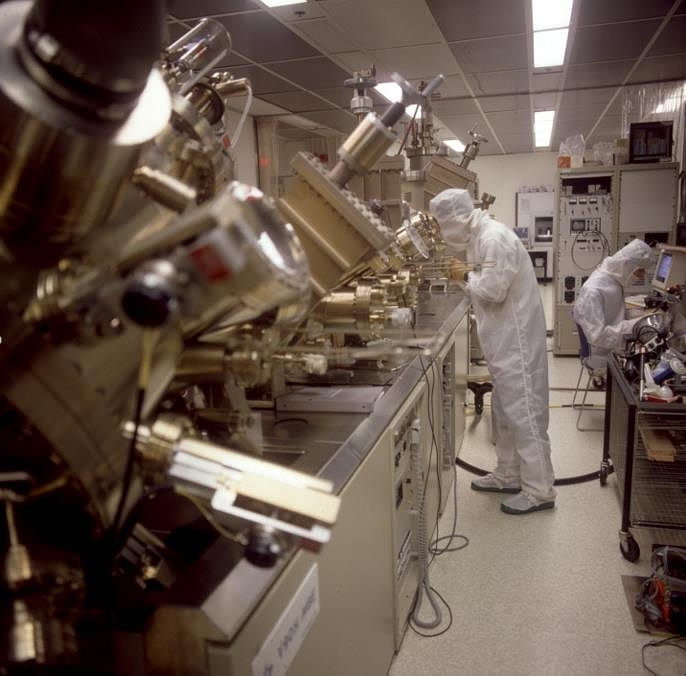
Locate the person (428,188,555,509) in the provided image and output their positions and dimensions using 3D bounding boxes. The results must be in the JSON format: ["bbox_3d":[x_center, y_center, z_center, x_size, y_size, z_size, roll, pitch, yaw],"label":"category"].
[{"bbox_3d":[0.723,0.032,2.699,0.589,1.490,0.572,-6,10,-27],"label":"person"}]

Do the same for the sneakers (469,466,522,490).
[{"bbox_3d":[0.753,0.719,2.825,0.197,0.105,0.107,5,3,20],"label":"sneakers"}]

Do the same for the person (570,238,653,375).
[{"bbox_3d":[1.836,-0.118,3.795,0.528,1.104,0.594,2,20,25],"label":"person"}]

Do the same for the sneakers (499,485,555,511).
[{"bbox_3d":[0.852,0.730,2.618,0.213,0.106,0.109,2,-1,-3],"label":"sneakers"}]
